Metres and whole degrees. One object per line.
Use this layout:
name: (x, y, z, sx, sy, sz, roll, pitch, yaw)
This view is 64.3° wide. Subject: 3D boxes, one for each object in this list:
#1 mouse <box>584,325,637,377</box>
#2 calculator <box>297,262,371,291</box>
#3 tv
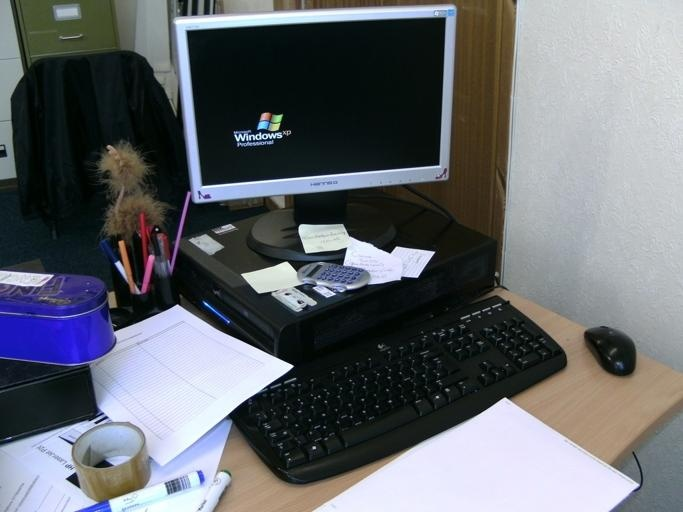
mouse: (0.497, 0.164, 1.009, 0.055, 0.033, 0.099, -19, 33, -7)
calculator: (-0.013, 0.036, 1.075, 0.144, 0.018, 0.080, 11, 35, 15)
tv: (-0.037, -0.261, 1.163, 0.599, 0.543, 0.062, -6, 21, -12)
